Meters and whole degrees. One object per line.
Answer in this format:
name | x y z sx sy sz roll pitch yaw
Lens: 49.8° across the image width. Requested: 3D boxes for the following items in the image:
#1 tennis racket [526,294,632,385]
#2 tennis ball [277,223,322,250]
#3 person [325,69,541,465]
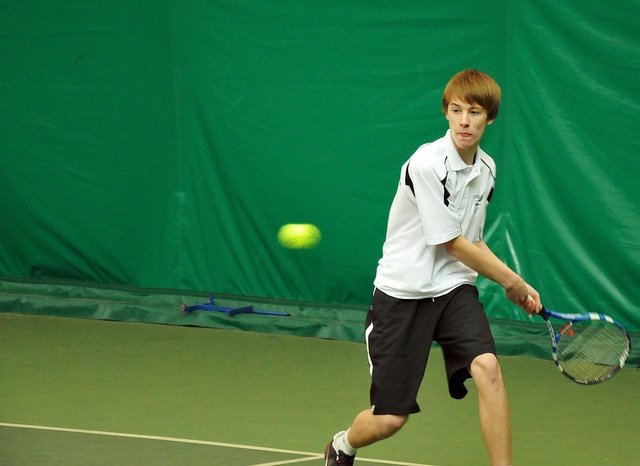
tennis racket | 1.389 0.577 3.579 0.406 0.501 0.708 5 11 25
tennis ball | -0.172 0.032 5.899 0.268 0.136 0.217 0 2 -40
person | 0.565 0.202 3.277 0.853 1.937 0.537 4 10 19
